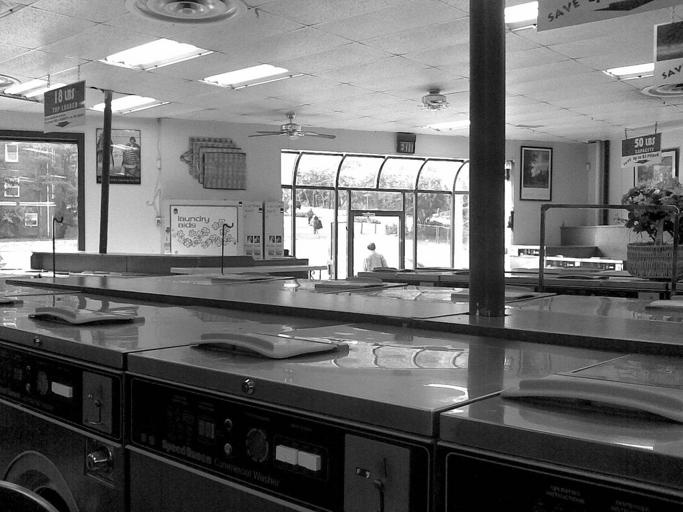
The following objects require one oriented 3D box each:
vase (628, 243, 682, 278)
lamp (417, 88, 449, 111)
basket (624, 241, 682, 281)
[{"bbox_3d":[1.826,0.024,3.495,0.309,0.175,0.311,1,1,42],"label":"vase"},{"bbox_3d":[1.320,-2.269,8.496,0.353,0.295,0.347,0,0,-42],"label":"lamp"},{"bbox_3d":[1.836,0.031,3.503,0.282,0.141,0.375,1,-2,8],"label":"basket"}]
